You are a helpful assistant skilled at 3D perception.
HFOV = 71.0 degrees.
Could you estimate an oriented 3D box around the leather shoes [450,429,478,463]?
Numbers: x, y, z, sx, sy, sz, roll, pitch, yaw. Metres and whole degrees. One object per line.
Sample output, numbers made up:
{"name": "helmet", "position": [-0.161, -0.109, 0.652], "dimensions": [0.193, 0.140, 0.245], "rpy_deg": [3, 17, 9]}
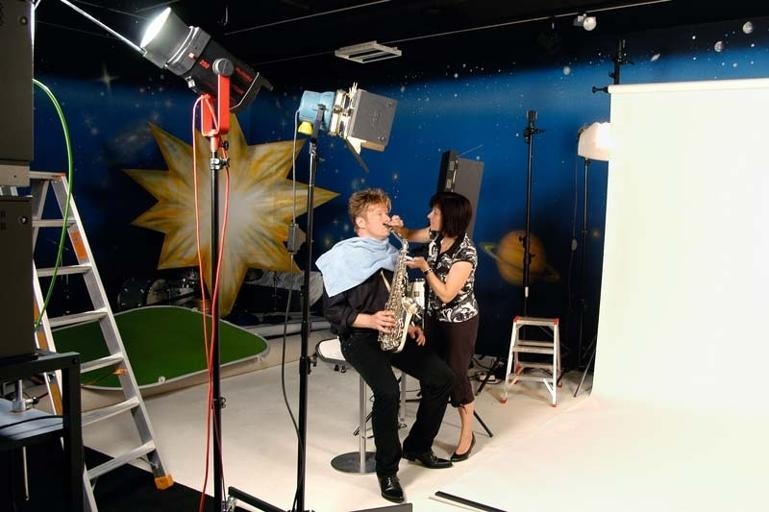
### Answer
{"name": "leather shoes", "position": [0.616, 1.488, 4.206], "dimensions": [0.095, 0.117, 0.289], "rpy_deg": [1, 18, 43]}

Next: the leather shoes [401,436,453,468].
{"name": "leather shoes", "position": [0.299, 1.503, 4.128], "dimensions": [0.453, 0.210, 0.161], "rpy_deg": [5, -2, 9]}

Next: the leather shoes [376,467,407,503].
{"name": "leather shoes", "position": [0.043, 1.557, 3.667], "dimensions": [0.101, 0.118, 0.272], "rpy_deg": [0, 2, -21]}

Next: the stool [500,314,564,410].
{"name": "stool", "position": [1.505, 0.965, 5.412], "dimensions": [0.562, 0.719, 0.649], "rpy_deg": [-7, 5, 14]}

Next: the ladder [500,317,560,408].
{"name": "ladder", "position": [1.486, 0.991, 5.316], "dimensions": [0.598, 0.767, 0.648], "rpy_deg": [3, 5, 30]}

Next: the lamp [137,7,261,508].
{"name": "lamp", "position": [-0.917, 0.067, 3.025], "dimensions": [0.608, 2.740, 0.688], "rpy_deg": [-6, 13, -36]}

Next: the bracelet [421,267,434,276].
{"name": "bracelet", "position": [0.314, 0.115, 3.889], "dimensions": [0.057, 0.038, 0.054], "rpy_deg": [-3, -8, -13]}

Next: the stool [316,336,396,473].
{"name": "stool", "position": [-0.167, 1.145, 4.071], "dimensions": [0.702, 0.860, 0.768], "rpy_deg": [-6, -7, 34]}
